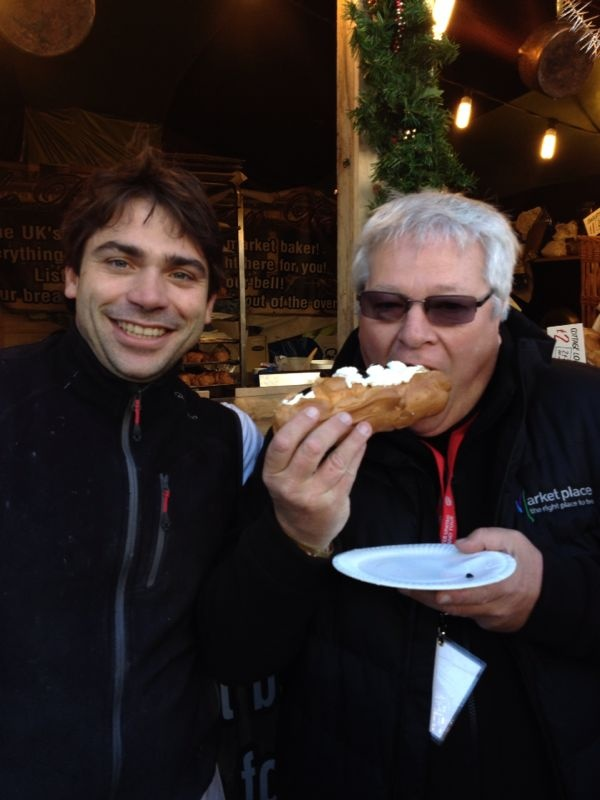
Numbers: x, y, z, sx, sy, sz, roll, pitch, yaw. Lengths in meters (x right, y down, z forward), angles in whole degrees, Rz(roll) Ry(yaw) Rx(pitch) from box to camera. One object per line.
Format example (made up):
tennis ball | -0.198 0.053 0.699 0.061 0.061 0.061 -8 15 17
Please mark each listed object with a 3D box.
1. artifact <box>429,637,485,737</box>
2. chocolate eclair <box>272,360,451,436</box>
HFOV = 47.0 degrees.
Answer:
artifact | 0.491 0.974 2.299 0.176 0.289 0.137 11 14 44
chocolate eclair | 0.212 -0.042 2.393 0.558 0.172 0.258 -10 13 -9
